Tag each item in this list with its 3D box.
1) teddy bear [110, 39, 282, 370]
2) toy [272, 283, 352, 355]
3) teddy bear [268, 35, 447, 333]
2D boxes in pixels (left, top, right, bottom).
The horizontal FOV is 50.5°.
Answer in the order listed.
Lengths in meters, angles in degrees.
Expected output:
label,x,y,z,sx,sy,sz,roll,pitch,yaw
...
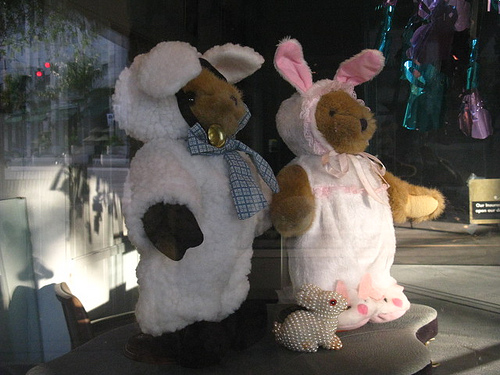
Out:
label,x,y,z,sx,sy,sz,roll,pitch,yaw
teddy bear,-0.164,0.046,1.796,0.551,1.051,0.239,-4,4,-17
toy,0.215,0.436,1.792,0.218,0.200,0.178,-3,3,-2
teddy bear,0.364,-0.028,1.887,0.601,1.021,0.205,-4,4,-6
